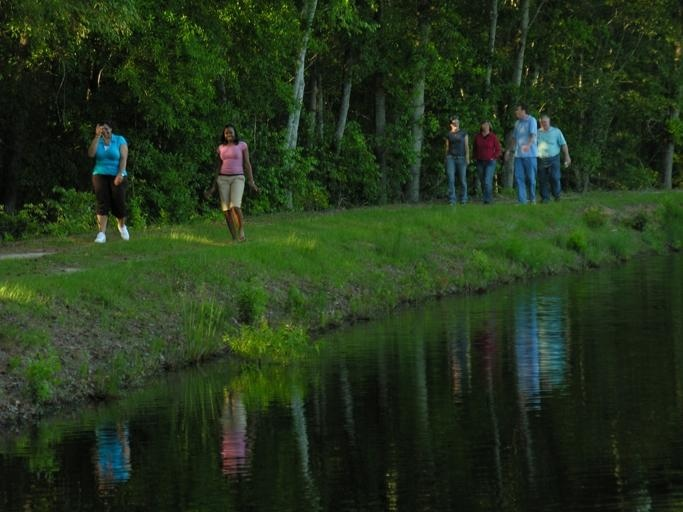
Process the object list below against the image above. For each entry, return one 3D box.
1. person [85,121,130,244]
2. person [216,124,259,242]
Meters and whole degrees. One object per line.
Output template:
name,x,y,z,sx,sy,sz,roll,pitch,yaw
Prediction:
person,-4.927,-1.576,25.080,0.791,2.639,0.851,-4,13,-13
person,-2.347,-1.629,25.731,0.795,2.669,1.242,-3,13,-6
